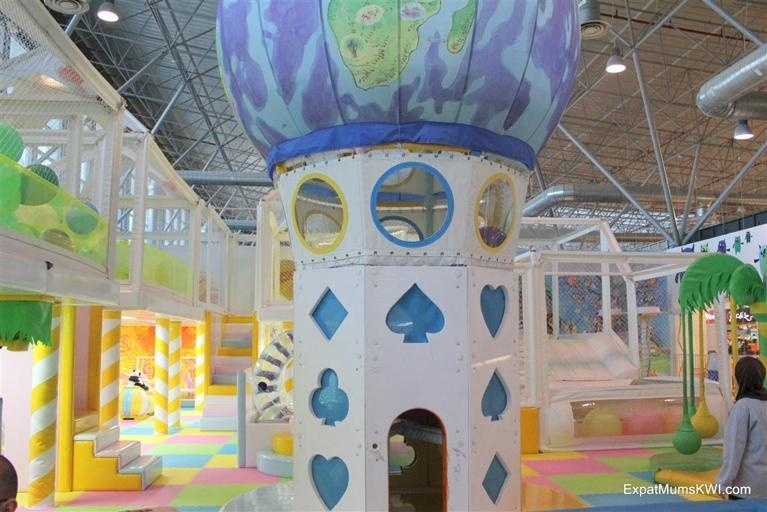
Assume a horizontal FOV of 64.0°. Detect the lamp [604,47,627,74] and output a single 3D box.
[{"bbox_3d":[5.343,-4.545,14.152,0.350,0.748,0.734,-6,-14,24],"label":"lamp"}]
